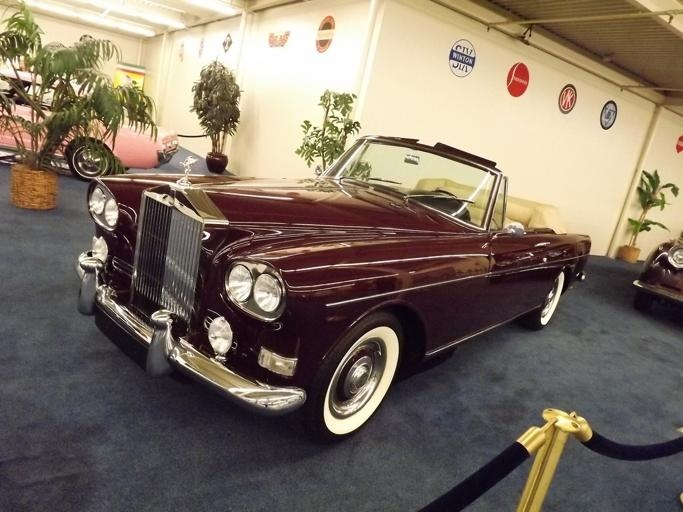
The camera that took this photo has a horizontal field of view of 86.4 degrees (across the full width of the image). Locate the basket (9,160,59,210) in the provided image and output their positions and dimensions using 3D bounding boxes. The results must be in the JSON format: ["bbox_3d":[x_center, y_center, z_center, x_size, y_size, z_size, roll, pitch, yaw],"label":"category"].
[{"bbox_3d":[-3.959,-0.875,4.769,0.585,0.574,0.582,5,6,-20],"label":"basket"}]
